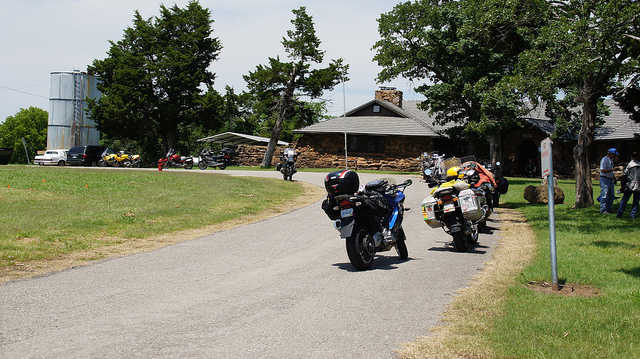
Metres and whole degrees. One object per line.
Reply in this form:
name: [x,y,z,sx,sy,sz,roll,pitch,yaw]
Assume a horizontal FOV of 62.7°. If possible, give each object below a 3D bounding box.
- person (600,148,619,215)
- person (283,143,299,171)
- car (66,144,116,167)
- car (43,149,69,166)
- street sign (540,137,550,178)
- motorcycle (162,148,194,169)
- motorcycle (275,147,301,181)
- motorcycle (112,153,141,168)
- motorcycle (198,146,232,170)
person: [12.654,0.063,23.167,0.599,3.140,1.214,3,1,29]
person: [-1.924,-1.403,34.767,0.816,1.476,2.208,3,0,-3]
car: [-22.123,-2.396,51.394,2.016,1.545,4.225,5,8,44]
car: [-27.416,-2.341,54.888,2.850,1.369,1.688,5,4,5]
street sign: [6.181,-0.619,14.444,0.220,1.121,0.358,3,1,5]
motorcycle: [-12.532,-1.767,45.898,1.861,1.360,3.015,2,0,-42]
motorcycle: [-2.036,-1.050,34.459,0.853,1.859,1.599,3,1,-12]
motorcycle: [-18.329,-1.782,50.072,2.685,1.366,1.221,6,8,-24]
motorcycle: [-9.203,-1.777,45.048,2.720,1.786,1.151,-3,-13,-31]
